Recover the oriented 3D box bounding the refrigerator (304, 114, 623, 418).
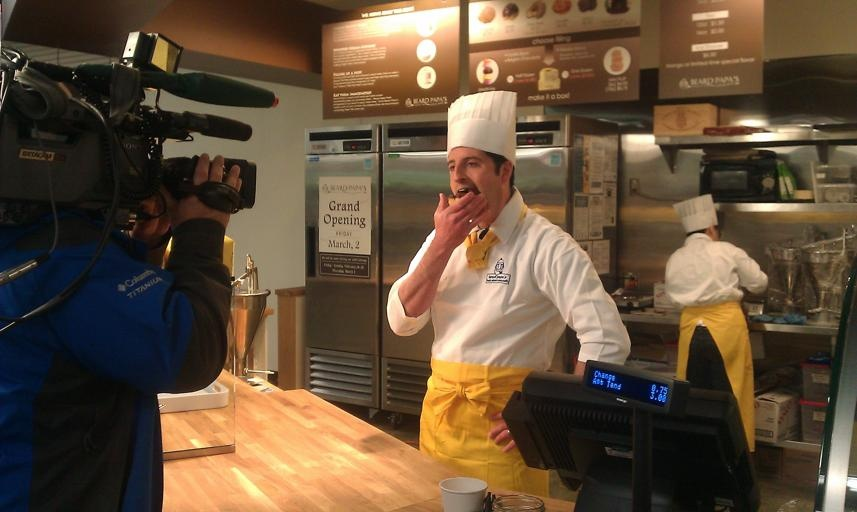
[{"bbox_3d":[0.353,0.095,5.272,2.689,2.367,1.551,1,1,41],"label":"refrigerator"}]

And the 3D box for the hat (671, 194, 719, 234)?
[{"bbox_3d":[2.046,-0.296,4.656,0.303,0.227,0.265,-9,-16,35],"label":"hat"}]

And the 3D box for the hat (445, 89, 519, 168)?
[{"bbox_3d":[0.200,-0.548,2.667,0.343,0.276,0.284,-2,-4,33],"label":"hat"}]
